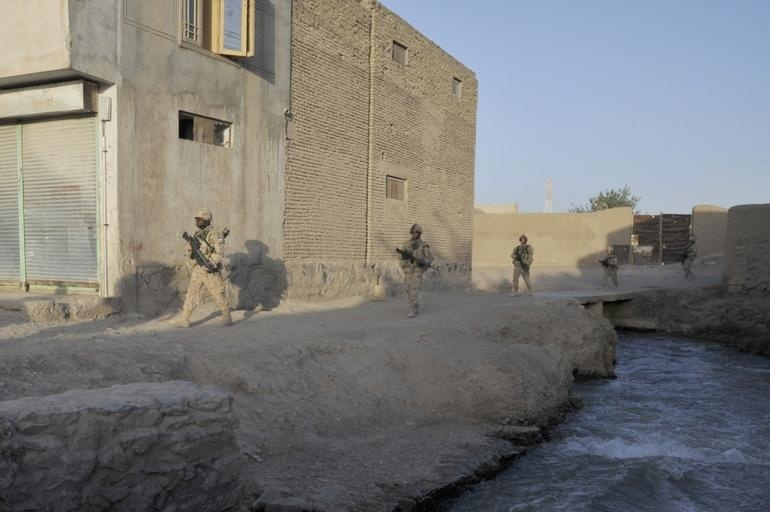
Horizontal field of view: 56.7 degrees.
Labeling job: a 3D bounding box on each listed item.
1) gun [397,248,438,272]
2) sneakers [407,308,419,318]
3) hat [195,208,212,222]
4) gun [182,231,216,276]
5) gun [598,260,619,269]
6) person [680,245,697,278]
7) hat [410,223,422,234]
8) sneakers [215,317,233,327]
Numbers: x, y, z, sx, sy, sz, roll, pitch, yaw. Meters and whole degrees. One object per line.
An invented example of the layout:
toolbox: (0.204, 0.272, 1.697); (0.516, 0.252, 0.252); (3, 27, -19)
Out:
gun: (0.699, 0.082, 16.150); (0.935, 0.335, 0.277); (27, 19, 16)
sneakers: (0.604, 1.208, 15.283); (0.145, 0.223, 0.064); (38, -11, -18)
hat: (-3.442, -0.782, 13.577); (0.221, 0.162, 0.295); (2, -2, 16)
gun: (-3.468, -0.078, 13.393); (1.003, 0.419, 0.139); (46, 24, 6)
gun: (7.233, 0.239, 22.887); (0.476, 0.177, 0.341); (3, 4, -19)
person: (10.160, 0.140, 23.714); (0.424, 1.024, 1.106); (-2, 0, 23)
hat: (0.694, -0.584, 15.567); (0.224, 0.234, 0.285); (3, 14, 9)
sneakers: (-3.057, 1.246, 13.623); (0.143, 0.215, 0.321); (0, -4, 10)
